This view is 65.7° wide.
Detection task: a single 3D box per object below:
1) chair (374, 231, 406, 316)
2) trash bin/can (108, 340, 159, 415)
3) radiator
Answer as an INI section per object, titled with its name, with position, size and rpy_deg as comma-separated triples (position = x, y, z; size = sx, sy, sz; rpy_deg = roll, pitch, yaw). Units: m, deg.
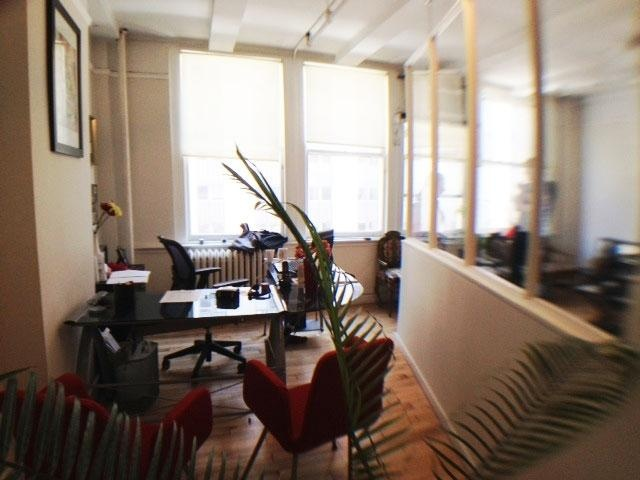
[chair]
position = 0.987, 0.377, 6.124
size = 0.556, 0.928, 0.570
rpy_deg = 4, 10, -1
[trash bin/can]
position = -1.399, 1.051, 3.811
size = 0.289, 0.522, 0.523
rpy_deg = 1, 1, -5
[radiator]
position = -1.045, 0.423, 5.484
size = 0.956, 0.157, 0.844
rpy_deg = -3, 30, -26
